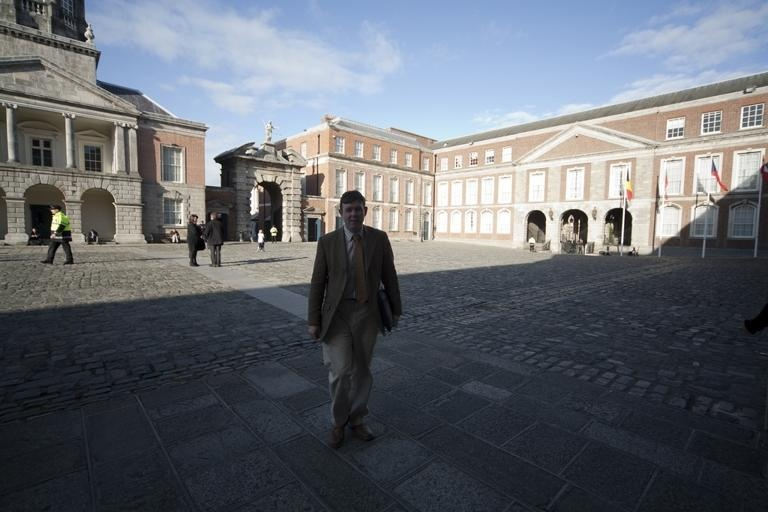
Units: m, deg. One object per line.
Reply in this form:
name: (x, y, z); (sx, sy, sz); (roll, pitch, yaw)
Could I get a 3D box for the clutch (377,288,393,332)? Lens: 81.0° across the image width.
clutch: (0.012, 0.696, 5.772); (0.152, 0.453, 0.360); (0, 21, -5)

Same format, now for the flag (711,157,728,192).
flag: (21.208, -5.191, 28.443); (0.932, 2.095, 2.519); (5, 7, 37)

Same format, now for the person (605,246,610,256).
person: (16.267, -0.444, 32.623); (0.314, 0.522, 1.397); (3, 6, 25)

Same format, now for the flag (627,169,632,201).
flag: (17.159, -5.001, 31.451); (0.467, 2.123, 3.045); (4, 6, 28)

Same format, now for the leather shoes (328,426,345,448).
leather shoes: (-0.590, 2.280, 5.713); (0.219, 0.253, 0.144); (-1, 6, -19)

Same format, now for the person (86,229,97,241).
person: (-18.127, -1.292, 28.061); (0.473, 0.714, 1.209); (-3, 6, -33)

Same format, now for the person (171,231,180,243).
person: (-13.870, -1.328, 29.896); (0.556, 0.773, 0.692); (-2, 6, -27)

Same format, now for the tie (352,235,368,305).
tie: (-0.306, 0.155, 5.724); (0.140, 0.850, 0.177); (-2, 6, -25)

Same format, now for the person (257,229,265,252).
person: (-6.840, -0.890, 25.027); (0.305, 1.070, 1.138); (-2, 6, -23)

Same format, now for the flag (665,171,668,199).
flag: (19.187, -4.837, 30.589); (0.244, 1.733, 2.226); (4, 6, 32)
